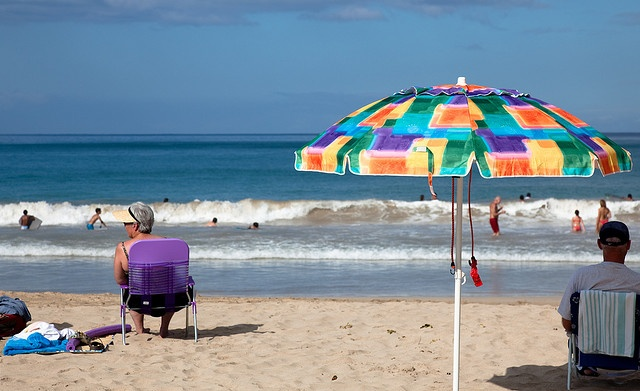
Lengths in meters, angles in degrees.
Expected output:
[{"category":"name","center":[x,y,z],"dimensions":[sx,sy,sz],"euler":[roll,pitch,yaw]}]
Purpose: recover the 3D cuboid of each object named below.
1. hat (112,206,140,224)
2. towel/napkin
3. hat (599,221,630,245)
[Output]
[{"category":"hat","center":[-7.203,0.660,49.025],"dimensions":[0.918,0.252,0.573],"euler":[13,17,-15]},{"category":"towel/napkin","center":[10.121,4.323,47.037],"dimensions":[2.812,2.595,0.335],"euler":[2,11,3]},{"category":"hat","center":[10.363,1.181,47.171],"dimensions":[0.778,0.922,1.057],"euler":[2,4,22]}]
